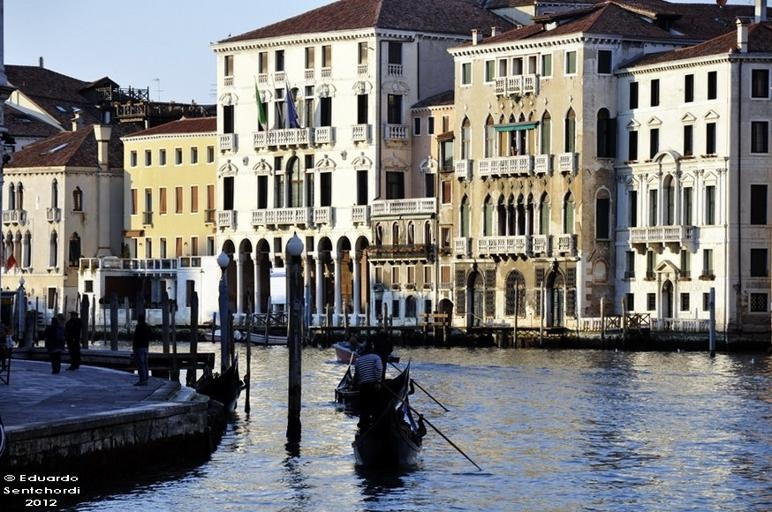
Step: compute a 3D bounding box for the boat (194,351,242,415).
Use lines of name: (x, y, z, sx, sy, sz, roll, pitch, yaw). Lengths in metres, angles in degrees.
boat: (-6.667, 5.093, 77.365, 1.683, 1.889, 5.189, -1, -9, -10)

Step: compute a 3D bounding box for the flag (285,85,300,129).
flag: (-6.192, -10.047, 129.591, 0.894, 2.159, 3.232, -2, -1, -2)

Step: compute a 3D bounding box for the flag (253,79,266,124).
flag: (-8.411, -10.195, 131.196, 0.759, 2.237, 2.500, -2, -1, -2)
